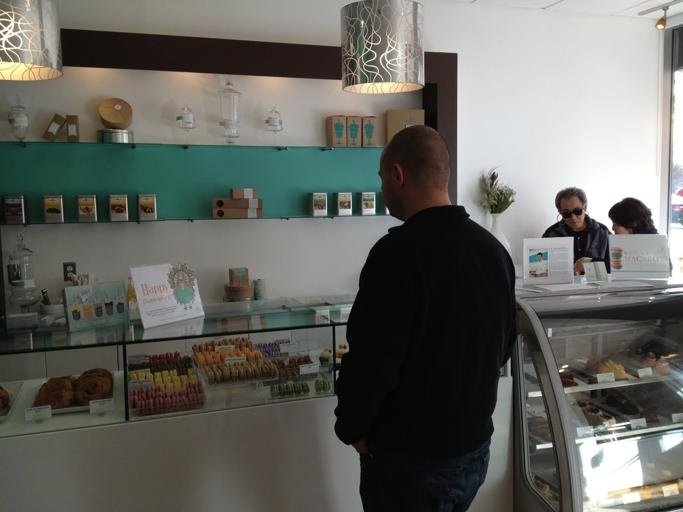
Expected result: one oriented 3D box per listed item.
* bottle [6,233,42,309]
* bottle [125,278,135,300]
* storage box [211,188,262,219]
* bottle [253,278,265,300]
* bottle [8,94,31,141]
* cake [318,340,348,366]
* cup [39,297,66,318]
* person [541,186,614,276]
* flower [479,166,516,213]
[{"bbox_3d":[-2.366,0.124,4.001,0.211,0.400,0.448,-7,6,-32],"label":"bottle"},{"bbox_3d":[-1.049,0.159,2.671,0.040,0.106,0.236,-6,5,-23],"label":"bottle"},{"bbox_3d":[-0.845,-0.423,4.349,0.395,0.243,0.096,-7,5,-23],"label":"storage box"},{"bbox_3d":[-0.674,0.271,4.429,0.099,0.158,0.285,-5,5,-9],"label":"bottle"},{"bbox_3d":[-2.383,-1.018,3.972,0.143,0.235,0.216,-7,6,-29],"label":"bottle"},{"bbox_3d":[-0.041,0.474,2.706,0.107,0.077,0.158,1,-1,6],"label":"cake"},{"bbox_3d":[-2.106,0.372,3.938,0.138,0.068,0.267,-9,7,-36],"label":"cup"},{"bbox_3d":[2.093,-0.155,4.794,0.550,0.814,0.512,-6,-2,17],"label":"person"},{"bbox_3d":[1.341,-0.613,4.918,0.336,0.500,0.359,0,4,-8],"label":"flower"}]
